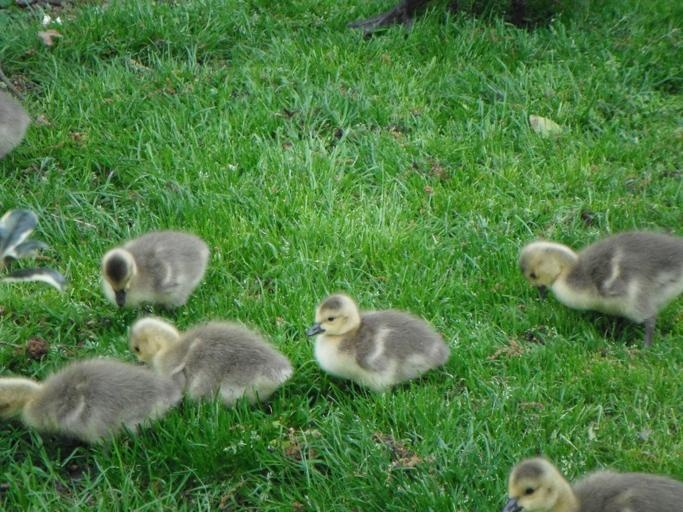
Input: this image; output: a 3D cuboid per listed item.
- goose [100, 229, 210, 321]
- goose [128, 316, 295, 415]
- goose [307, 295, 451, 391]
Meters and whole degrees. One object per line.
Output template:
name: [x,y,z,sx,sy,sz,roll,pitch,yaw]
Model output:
goose: [-1.736,0.284,7.493,0.645,0.663,0.925,-25,8,33]
goose: [-1.102,0.806,6.530,1.149,0.573,0.652,7,26,16]
goose: [0.327,0.772,6.888,0.997,0.780,0.714,-2,16,7]
